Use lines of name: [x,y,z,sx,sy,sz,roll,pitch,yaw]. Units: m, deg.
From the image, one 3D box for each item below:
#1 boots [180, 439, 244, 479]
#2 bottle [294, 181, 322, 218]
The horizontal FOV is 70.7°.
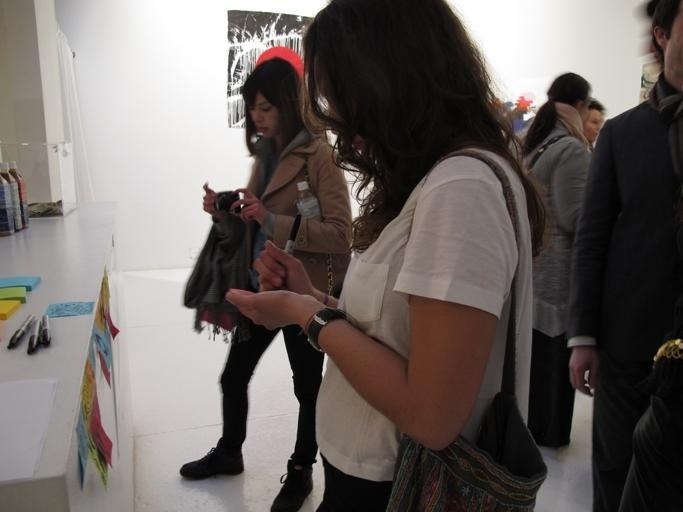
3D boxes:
boots: [-0.658,0.986,2.357,0.310,0.219,0.126,6,-6,-5]
bottle: [-0.139,-0.201,1.977,0.077,0.210,0.085,-15,21,-3]
